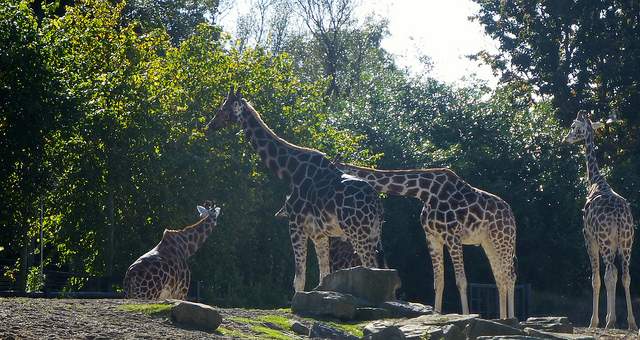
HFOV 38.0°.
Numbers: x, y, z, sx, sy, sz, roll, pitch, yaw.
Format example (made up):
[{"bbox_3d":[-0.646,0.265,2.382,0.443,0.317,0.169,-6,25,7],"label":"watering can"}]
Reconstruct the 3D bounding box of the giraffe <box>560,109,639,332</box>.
[{"bbox_3d":[11.831,1.950,38.814,2.350,9.803,1.787,-2,-21,21],"label":"giraffe"}]
